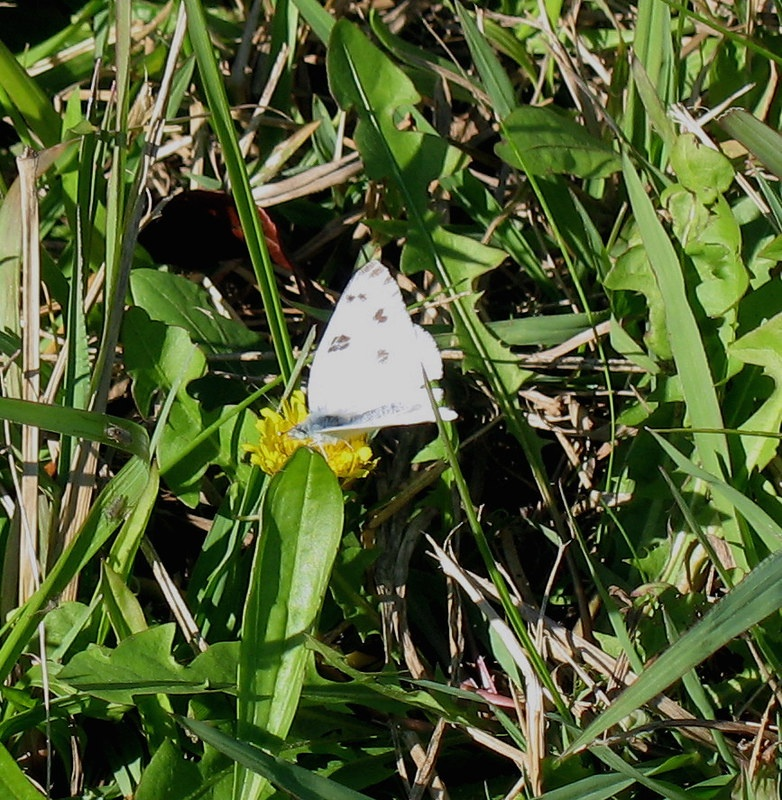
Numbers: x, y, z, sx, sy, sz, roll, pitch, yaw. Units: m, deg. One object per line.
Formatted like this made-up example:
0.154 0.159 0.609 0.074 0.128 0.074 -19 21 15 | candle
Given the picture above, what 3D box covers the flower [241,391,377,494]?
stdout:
-0.133 0.093 1.720 0.188 0.089 0.188 32 24 26 | flower
